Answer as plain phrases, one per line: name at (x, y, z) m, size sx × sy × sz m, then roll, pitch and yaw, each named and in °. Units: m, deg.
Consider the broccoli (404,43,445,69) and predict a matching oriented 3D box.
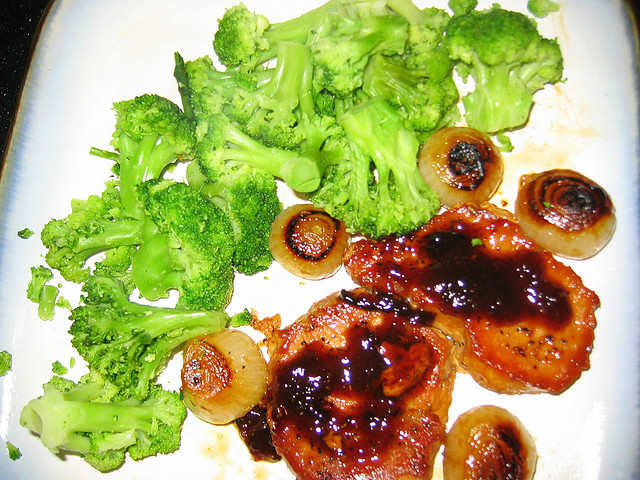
broccoli at (0.879, -1.566, 5.149) m, size 0.204 × 0.214 × 0.066 m, roll -10°, pitch 1°, yaw 19°
